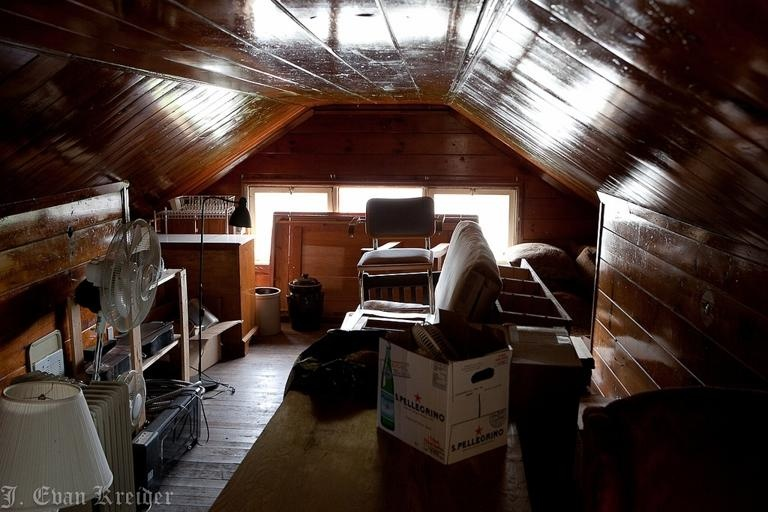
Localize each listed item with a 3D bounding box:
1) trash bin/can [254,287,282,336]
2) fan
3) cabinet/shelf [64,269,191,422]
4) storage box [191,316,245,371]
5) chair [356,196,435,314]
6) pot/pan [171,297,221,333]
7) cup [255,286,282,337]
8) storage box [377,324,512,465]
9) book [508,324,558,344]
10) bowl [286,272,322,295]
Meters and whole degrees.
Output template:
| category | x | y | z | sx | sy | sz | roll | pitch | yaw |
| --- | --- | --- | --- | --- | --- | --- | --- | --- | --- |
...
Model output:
| category | x | y | z | sx | sy | sz | roll | pitch | yaw |
| --- | --- | --- | --- | --- | --- | --- | --- | --- | --- |
| trash bin/can | -1.096 | 0.537 | 5.569 | 0.380 | 0.429 | 0.393 | 1 | 12 | -3 |
| fan | -1.404 | 0.246 | 2.896 | 0.439 | 0.862 | 0.361 | -9 | 13 | -26 |
| cabinet/shelf | -1.495 | 0.520 | 3.138 | 0.303 | 0.851 | 0.893 | 1 | 8 | 4 |
| storage box | -1.463 | 0.606 | 4.703 | 0.306 | 0.325 | 0.655 | 3 | 6 | 1 |
| chair | 0.101 | -0.006 | 4.465 | 0.648 | 0.891 | 0.698 | -2 | 12 | 5 |
| pot/pan | -1.571 | 0.480 | 4.458 | 0.315 | 0.133 | 0.429 | -3 | 9 | -26 |
| cup | -1.171 | 0.548 | 5.529 | 0.381 | 0.430 | 0.394 | 1 | 12 | 0 |
| storage box | 0.212 | 0.389 | 1.923 | 0.412 | 0.402 | 0.413 | -3 | 10 | -42 |
| book | 0.655 | 0.327 | 2.402 | 0.211 | 0.053 | 0.256 | 1 | 14 | 20 |
| bowl | -0.818 | 0.295 | 5.538 | 0.253 | 0.190 | 0.232 | 0 | 8 | 0 |
